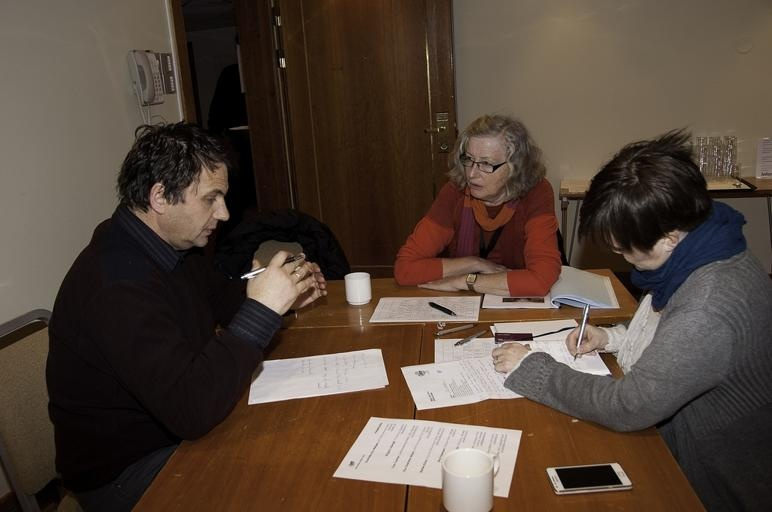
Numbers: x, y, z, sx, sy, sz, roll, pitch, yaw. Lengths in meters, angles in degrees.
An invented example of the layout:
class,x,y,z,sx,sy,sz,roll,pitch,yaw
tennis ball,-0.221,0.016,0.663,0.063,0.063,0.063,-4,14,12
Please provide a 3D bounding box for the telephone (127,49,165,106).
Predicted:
class,x,y,z,sx,sy,sz,roll,pitch,yaw
telephone,-1.470,-1.108,3.126,0.074,0.321,0.240,5,25,16

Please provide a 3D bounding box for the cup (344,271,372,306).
class,x,y,z,sx,sy,sz,roll,pitch,yaw
cup,-0.121,0.152,2.319,0.130,0.140,0.126,-5,12,1

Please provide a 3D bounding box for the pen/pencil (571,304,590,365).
class,x,y,z,sx,sy,sz,roll,pitch,yaw
pen/pencil,0.704,0.294,1.827,0.026,0.197,0.019,14,6,22

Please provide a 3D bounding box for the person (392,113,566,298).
class,x,y,z,sx,sy,sz,roll,pitch,yaw
person,0.535,-0.247,2.677,0.855,1.007,0.920,16,17,38

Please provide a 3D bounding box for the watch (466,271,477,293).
class,x,y,z,sx,sy,sz,roll,pitch,yaw
watch,0.395,0.121,2.334,0.049,0.078,0.075,10,33,21

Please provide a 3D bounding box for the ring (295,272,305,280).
class,x,y,z,sx,sy,sz,roll,pitch,yaw
ring,-0.307,0.070,1.796,0.022,0.017,0.031,0,9,-10
